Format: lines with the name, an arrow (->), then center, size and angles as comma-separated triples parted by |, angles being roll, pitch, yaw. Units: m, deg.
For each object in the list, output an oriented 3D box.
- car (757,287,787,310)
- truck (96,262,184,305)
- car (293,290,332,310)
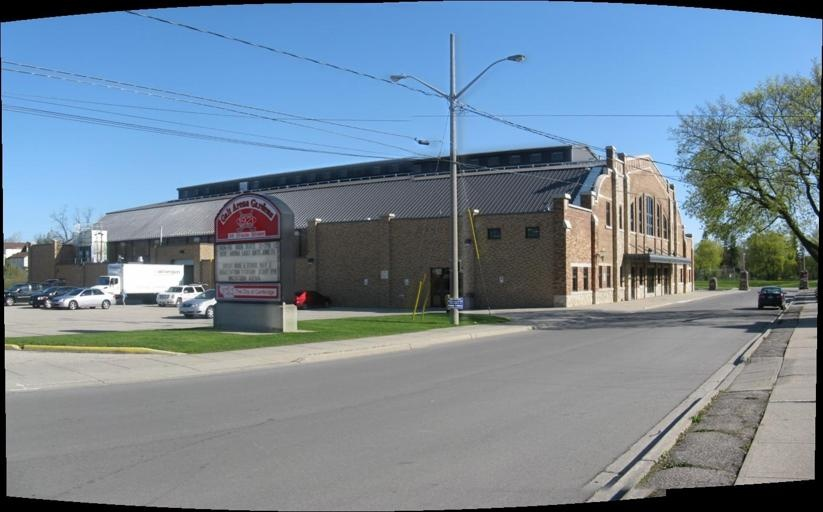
car -> 23.239, 2.743, 48.533 | 1.221, 0.863, 2.638 | 0, 0, 23
truck -> -21.096, 2.156, 60.227 | 6.688, 2.671, 2.184 | -1, 4, 0
car -> -6.963, 3.063, 52.165 | 1.994, 1.242, 2.892 | 0, 5, 4
